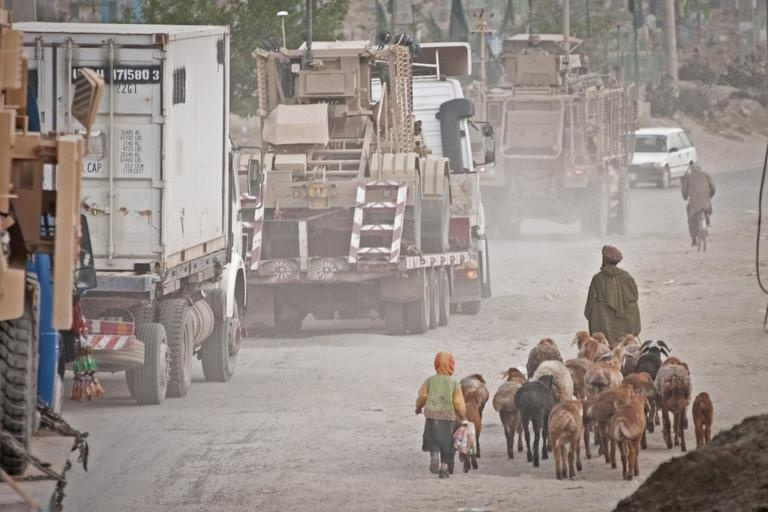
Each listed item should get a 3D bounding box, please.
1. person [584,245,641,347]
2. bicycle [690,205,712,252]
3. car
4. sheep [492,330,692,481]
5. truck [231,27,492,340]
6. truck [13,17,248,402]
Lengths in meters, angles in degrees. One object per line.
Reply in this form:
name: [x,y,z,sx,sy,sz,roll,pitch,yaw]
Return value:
person: [3.067,0.599,18.767,0.622,1.442,0.904,-1,-1,0]
bicycle: [7.294,-0.559,31.762,0.364,1.302,0.519,2,5,6]
car: [9.216,-3.267,45.987,1.719,1.330,2.884,2,3,24]
sheep: [2.246,1.791,16.600,1.426,0.844,1.487,0,9,20]
truck: [-1.561,-1.380,25.010,4.756,5.418,6.276,0,2,8]
truck: [-3.153,-0.666,19.134,3.292,5.050,4.235,0,1,4]
